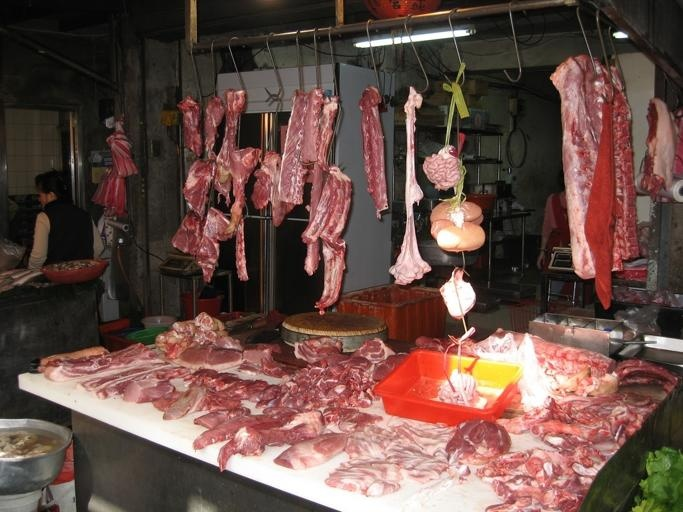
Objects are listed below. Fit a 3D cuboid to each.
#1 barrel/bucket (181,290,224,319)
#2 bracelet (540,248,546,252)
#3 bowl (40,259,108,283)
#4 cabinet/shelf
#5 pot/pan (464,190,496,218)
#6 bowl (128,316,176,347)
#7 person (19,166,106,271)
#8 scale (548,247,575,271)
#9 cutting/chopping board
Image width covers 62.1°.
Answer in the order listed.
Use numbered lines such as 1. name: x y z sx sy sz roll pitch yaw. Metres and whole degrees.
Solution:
1. barrel/bucket: -1.587 0.614 6.544 0.464 0.377 0.849 -1 5 -16
2. bracelet: 2.666 -0.083 7.517 0.081 0.021 0.084 3 9 32
3. bowl: -2.086 0.121 4.477 0.308 0.080 0.256 -5 11 -27
4. cabinet/shelf: 2.584 -0.966 9.460 1.493 2.218 1.499 -7 4 -1
5. pot/pan: 2.011 -0.726 8.076 0.554 0.324 0.308 -3 6 -34
6. bowl: -1.685 0.682 5.173 0.429 0.208 0.553 0 3 19
7. person: -2.715 -0.355 5.520 0.560 0.905 0.236 -3 6 -33
8. scale: 2.045 0.031 5.274 0.184 0.171 0.206 -3 45 34
9. cutting/chopping board: -0.053 0.467 3.473 0.660 0.173 0.536 1 5 6
